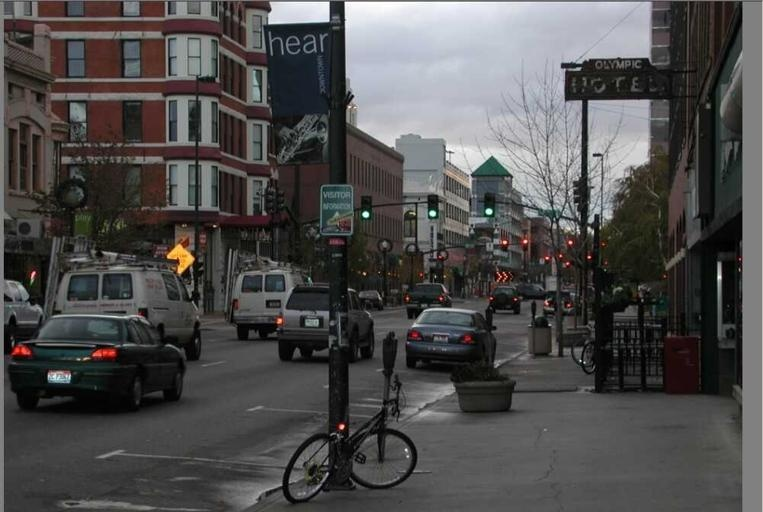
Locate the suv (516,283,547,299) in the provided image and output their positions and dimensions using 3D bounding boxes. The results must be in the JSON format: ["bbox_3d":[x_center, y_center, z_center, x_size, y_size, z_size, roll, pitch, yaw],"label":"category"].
[{"bbox_3d":[18.425,4.299,121.953,2.745,1.561,1.805,-4,7,-7],"label":"suv"}]

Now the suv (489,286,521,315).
[{"bbox_3d":[9.208,3.235,73.301,1.528,1.630,3.615,0,1,12],"label":"suv"}]

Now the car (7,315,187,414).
[{"bbox_3d":[-5.919,2.206,20.363,3.463,1.994,1.907,3,-5,-31],"label":"car"}]

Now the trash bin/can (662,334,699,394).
[{"bbox_3d":[6.964,2.548,22.820,0.759,1.299,0.367,0,-4,9],"label":"trash bin/can"}]

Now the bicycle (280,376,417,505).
[{"bbox_3d":[-0.500,2.754,13.982,2.124,1.388,0.491,4,-5,-34],"label":"bicycle"}]

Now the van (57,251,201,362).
[{"bbox_3d":[-7.787,1.892,31.077,2.909,2.964,5.470,-3,-3,9],"label":"van"}]

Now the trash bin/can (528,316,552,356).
[{"bbox_3d":[5.880,2.805,36.334,0.713,1.452,0.725,-3,23,10],"label":"trash bin/can"}]
